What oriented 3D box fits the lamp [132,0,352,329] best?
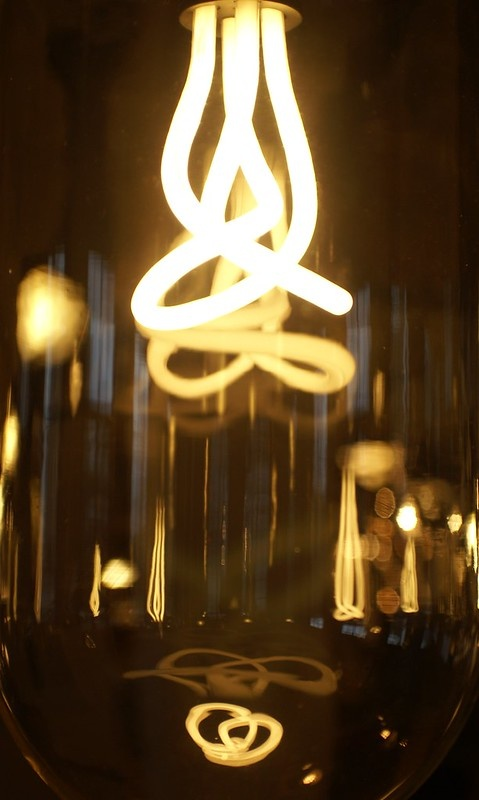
[{"bbox_3d":[-0.004,-0.079,0.360,0.080,0.135,0.077,-7,10,-40],"label":"lamp"}]
